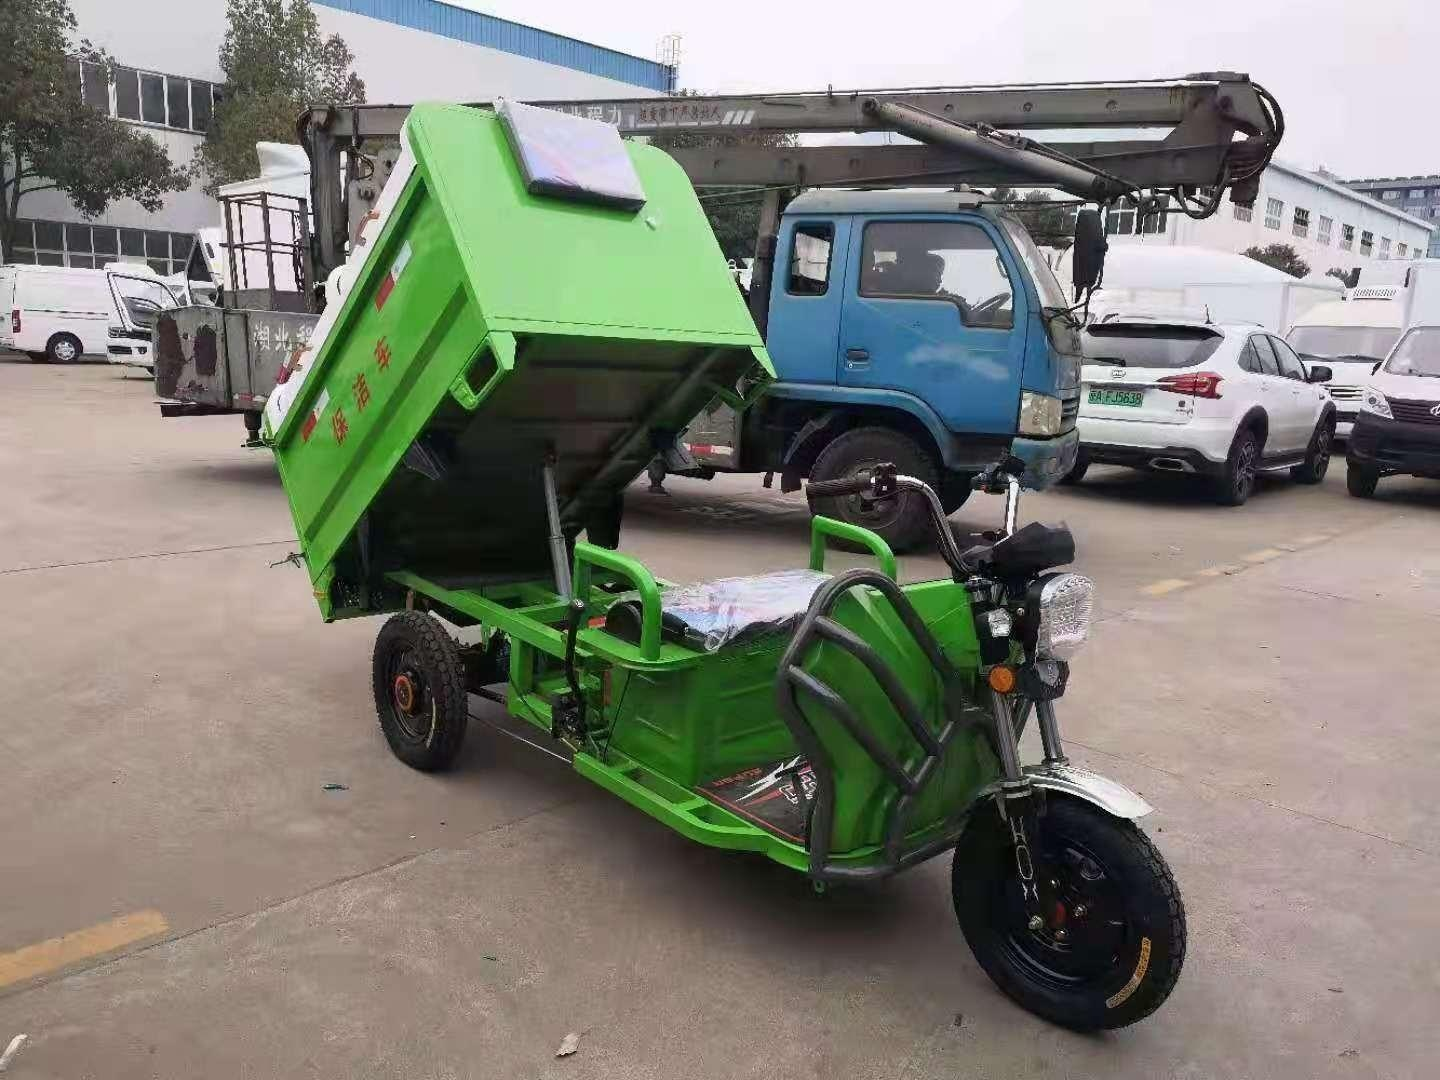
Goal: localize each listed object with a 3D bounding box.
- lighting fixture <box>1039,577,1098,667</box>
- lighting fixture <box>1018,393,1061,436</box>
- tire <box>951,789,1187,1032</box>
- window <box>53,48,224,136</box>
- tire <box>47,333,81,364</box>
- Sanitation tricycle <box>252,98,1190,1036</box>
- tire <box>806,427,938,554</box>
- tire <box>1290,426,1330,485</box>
[{"bbox_3d":[1.120,0.262,3.441,0.222,0.308,0.087,-4,16,-33],"label":"lighting fixture"},{"bbox_3d":[2.442,-0.921,8.158,0.252,0.382,0.463,13,9,39],"label":"lighting fixture"},{"bbox_3d":[1.146,1.251,3.528,0.558,0.638,0.189,-33,-11,38],"label":"tire"},{"bbox_3d":[-19.410,-15.044,36.134,1.584,2.511,6.542,19,13,18],"label":"window"},{"bbox_3d":[-15.246,-4.484,24.688,0.162,0.513,0.467,21,29,32],"label":"tire"},{"bbox_3d":[-0.065,-0.349,5.539,5.529,3.667,2.088,17,19,42],"label":"Sanitation tricycle"},{"bbox_3d":[1.040,-0.358,7.023,0.802,0.922,0.267,10,24,27],"label":"tire"},{"bbox_3d":[7.325,-1.065,13.222,0.170,0.504,0.501,16,61,33],"label":"tire"}]
